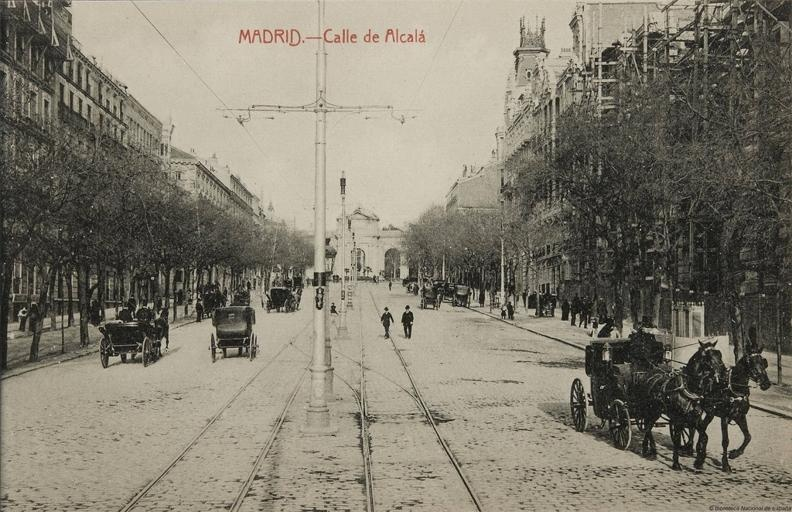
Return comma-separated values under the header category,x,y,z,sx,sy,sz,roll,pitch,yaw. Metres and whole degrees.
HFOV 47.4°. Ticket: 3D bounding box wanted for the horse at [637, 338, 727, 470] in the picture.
category,x,y,z,sx,sy,sz,roll,pitch,yaw
horse,7.995,4.134,25.558,1.324,3.511,4.863,5,-5,-9
